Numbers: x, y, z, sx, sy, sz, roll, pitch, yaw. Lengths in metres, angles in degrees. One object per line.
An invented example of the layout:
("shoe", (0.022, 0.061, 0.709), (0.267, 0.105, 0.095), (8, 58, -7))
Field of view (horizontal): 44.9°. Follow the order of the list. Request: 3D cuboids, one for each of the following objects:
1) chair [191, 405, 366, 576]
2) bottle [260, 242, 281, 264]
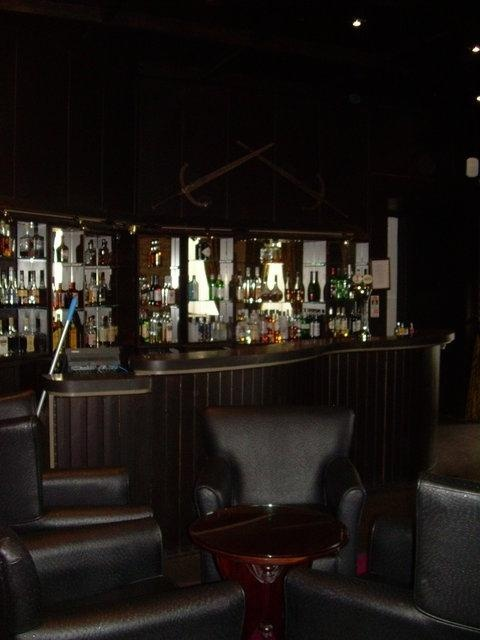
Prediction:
("chair", (0.200, 0.865, 2.701), (0.588, 0.873, 0.582), (0, -3, 0))
("bottle", (0.318, -0.692, 6.276), (0.176, 0.263, 0.392), (2, 1, 1))
